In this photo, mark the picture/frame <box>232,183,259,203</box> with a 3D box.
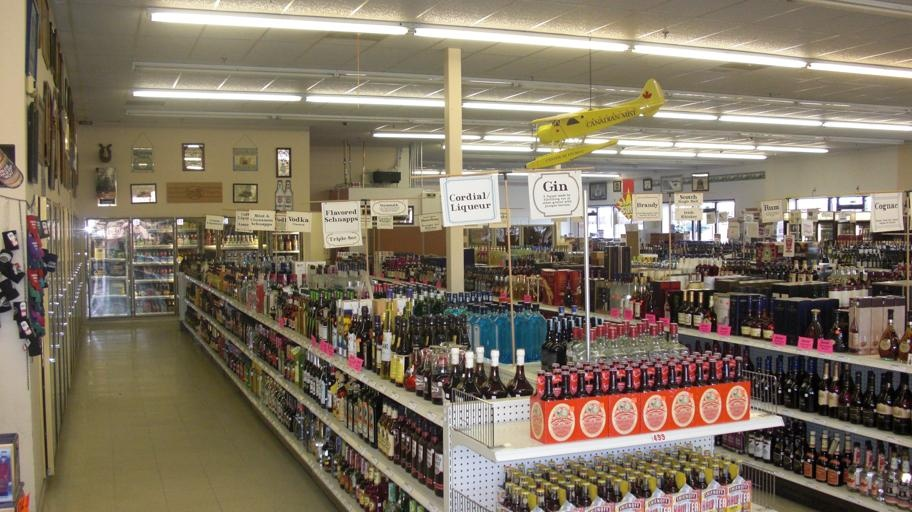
[{"bbox_3d":[-5.934,-1.762,18.707,0.585,0.458,0.045,-1,9,-21],"label":"picture/frame"}]

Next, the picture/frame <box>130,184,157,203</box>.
[{"bbox_3d":[-8.457,-1.697,18.037,0.555,0.447,0.070,0,11,-9],"label":"picture/frame"}]
